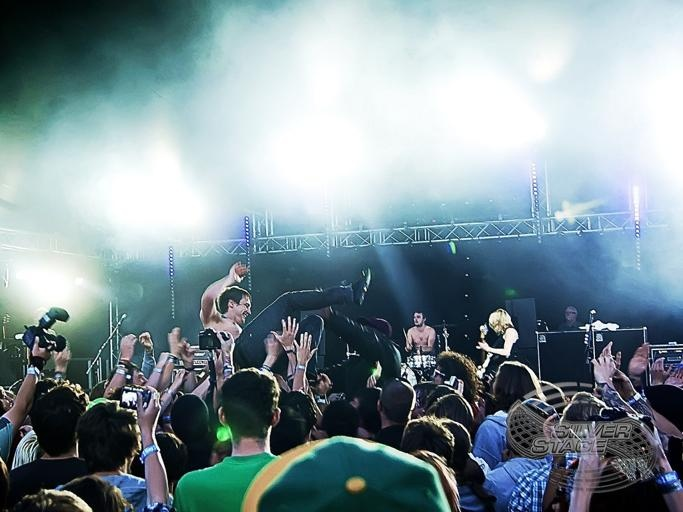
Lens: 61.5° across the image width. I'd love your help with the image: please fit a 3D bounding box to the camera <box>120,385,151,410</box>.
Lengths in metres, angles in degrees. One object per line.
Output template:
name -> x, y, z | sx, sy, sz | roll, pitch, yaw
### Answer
camera -> -1.506, 1.028, 4.163 | 0.114, 0.172, 0.329 | 8, -17, -45
